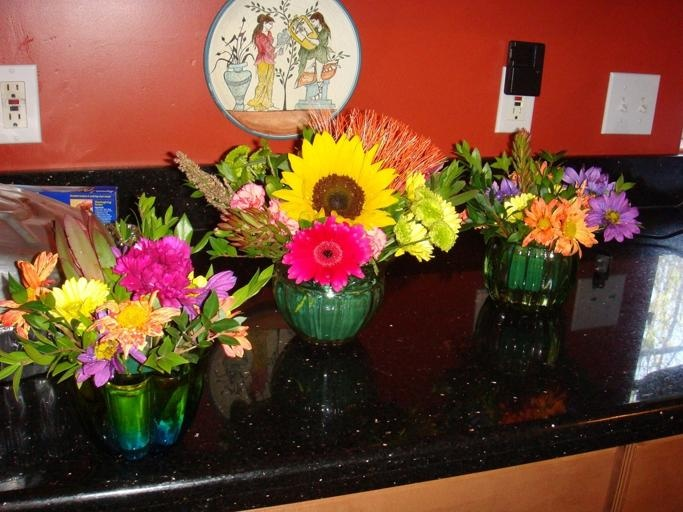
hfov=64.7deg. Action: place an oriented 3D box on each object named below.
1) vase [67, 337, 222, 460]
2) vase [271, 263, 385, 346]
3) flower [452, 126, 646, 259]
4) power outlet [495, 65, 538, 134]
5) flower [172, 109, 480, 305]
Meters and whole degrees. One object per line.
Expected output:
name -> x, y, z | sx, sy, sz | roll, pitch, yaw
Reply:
vase -> -0.231, 0.172, 0.614 | 0.130, 0.104, 0.135 | -4, 18, -10
vase -> -0.022, 0.050, 0.826 | 0.124, 0.104, 0.131 | 6, 10, 39
flower -> 0.362, -0.113, 0.949 | 0.301, 0.207, 0.209 | 8, 14, 26
power outlet -> 0.453, -0.402, 1.397 | 0.115, 0.165, 0.016 | -3, 12, -19
flower -> -0.028, -0.121, 0.704 | 0.312, 0.164, 0.349 | 24, 38, 17
